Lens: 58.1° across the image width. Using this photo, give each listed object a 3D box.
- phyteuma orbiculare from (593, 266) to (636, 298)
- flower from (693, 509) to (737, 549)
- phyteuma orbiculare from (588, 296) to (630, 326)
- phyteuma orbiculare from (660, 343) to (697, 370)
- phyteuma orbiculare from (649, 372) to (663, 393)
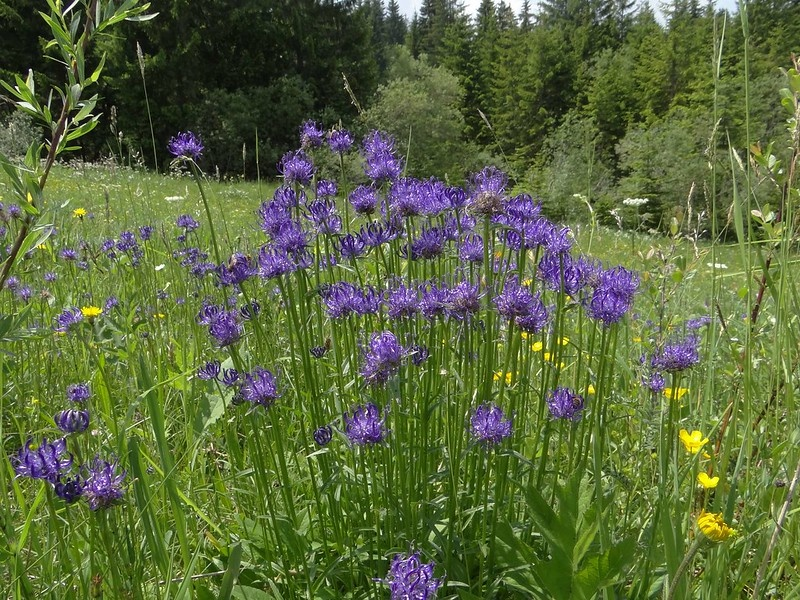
[{"bbox_3d":[0.843,-0.069,2.784,0.149,0.123,0.203,3,8,20],"label":"phyteuma orbiculare"},{"bbox_3d":[0.967,0.702,2.219,0.093,0.059,0.115,12,32,1],"label":"flower"},{"bbox_3d":[0.784,0.047,2.689,0.104,0.129,0.113,2,-4,-18],"label":"phyteuma orbiculare"},{"bbox_3d":[1.080,0.223,2.806,0.109,0.095,0.116,-2,-6,-23],"label":"phyteuma orbiculare"},{"bbox_3d":[1.051,0.339,2.985,0.067,0.089,0.093,-3,-2,8],"label":"phyteuma orbiculare"}]
